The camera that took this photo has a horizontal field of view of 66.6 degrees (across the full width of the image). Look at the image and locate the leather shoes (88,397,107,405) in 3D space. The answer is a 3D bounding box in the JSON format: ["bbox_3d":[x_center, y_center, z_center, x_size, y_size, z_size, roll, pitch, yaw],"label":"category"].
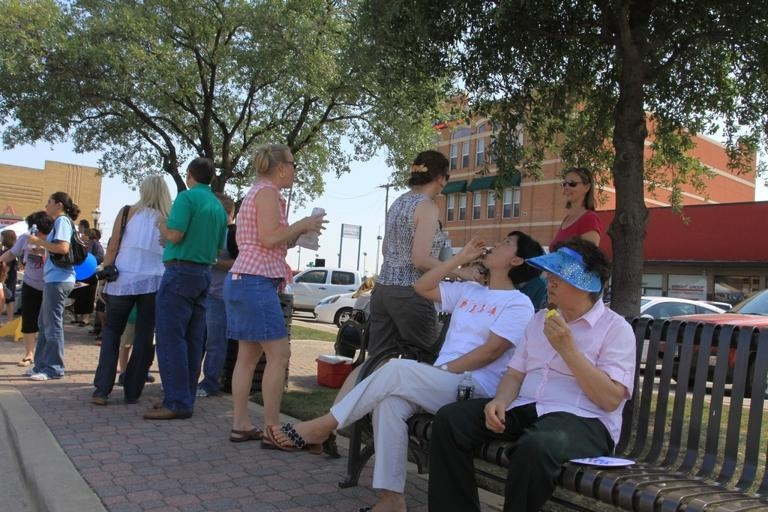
[{"bbox_3d":[-3.475,1.755,7.135,0.183,0.104,0.090,3,0,-4],"label":"leather shoes"}]

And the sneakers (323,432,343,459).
[{"bbox_3d":[-0.510,1.901,5.855,0.115,0.139,0.365,1,-3,5],"label":"sneakers"}]

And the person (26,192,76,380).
[{"bbox_3d":[-4.920,0.364,8.708,0.580,2.610,1.382,3,0,-30],"label":"person"}]

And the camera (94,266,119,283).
[{"bbox_3d":[-3.422,0.212,7.242,0.253,0.207,0.208,3,0,-24],"label":"camera"}]

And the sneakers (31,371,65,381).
[{"bbox_3d":[-4.758,1.709,8.282,0.379,0.142,0.139,14,-21,-31],"label":"sneakers"}]

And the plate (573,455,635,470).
[{"bbox_3d":[1.577,1.475,4.152,0.500,0.081,0.127,3,0,-9],"label":"plate"}]

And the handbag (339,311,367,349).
[{"bbox_3d":[-0.436,1.251,9.589,0.449,0.616,0.239,18,14,40],"label":"handbag"}]

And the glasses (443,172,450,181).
[{"bbox_3d":[0.647,-0.811,5.993,0.065,0.075,0.086,-3,0,-1],"label":"glasses"}]

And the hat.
[{"bbox_3d":[1.417,0.106,4.516,0.456,0.144,0.329,24,-2,-9],"label":"hat"}]

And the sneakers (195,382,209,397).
[{"bbox_3d":[-2.473,1.812,7.907,0.243,0.105,0.099,2,-3,41],"label":"sneakers"}]

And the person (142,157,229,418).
[{"bbox_3d":[-2.332,0.340,6.904,0.404,2.977,0.747,3,0,37],"label":"person"}]

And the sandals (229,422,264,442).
[{"bbox_3d":[-1.448,1.853,6.168,0.333,0.117,0.163,-1,-2,-38],"label":"sandals"}]

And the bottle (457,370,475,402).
[{"bbox_3d":[0.669,1.077,4.809,0.132,0.326,0.131,2,-16,1],"label":"bottle"}]

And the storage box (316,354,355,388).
[{"bbox_3d":[-0.800,1.813,9.217,0.387,0.464,0.646,6,-4,-38],"label":"storage box"}]
